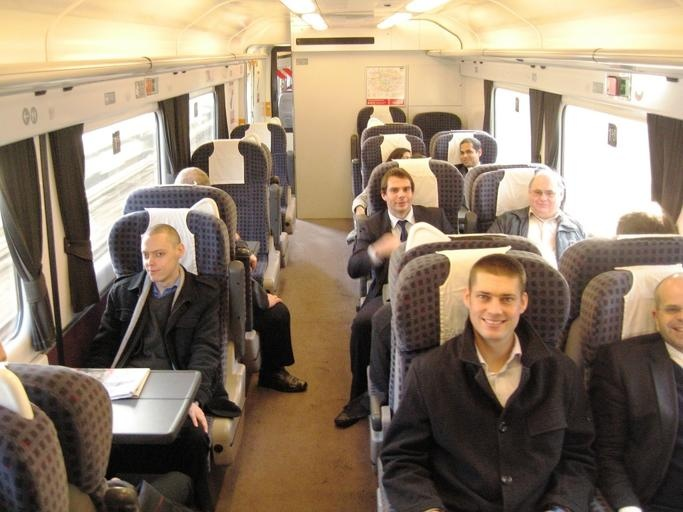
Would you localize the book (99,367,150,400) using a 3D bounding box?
[{"bbox_3d":[-1.307,0.747,3.439,0.214,0.055,0.227,0,22,2],"label":"book"}]

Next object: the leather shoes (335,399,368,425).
[{"bbox_3d":[0.126,1.326,5.011,0.386,0.161,0.137,-17,13,-40],"label":"leather shoes"}]

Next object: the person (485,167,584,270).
[{"bbox_3d":[1.790,-0.227,5.221,1.044,1.002,0.622,3,20,12],"label":"person"}]

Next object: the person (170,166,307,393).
[{"bbox_3d":[-0.951,-0.154,5.437,0.657,1.623,0.860,-12,21,-5],"label":"person"}]

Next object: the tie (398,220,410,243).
[{"bbox_3d":[0.569,-0.240,5.478,0.151,0.229,0.208,-2,-10,4],"label":"tie"}]
